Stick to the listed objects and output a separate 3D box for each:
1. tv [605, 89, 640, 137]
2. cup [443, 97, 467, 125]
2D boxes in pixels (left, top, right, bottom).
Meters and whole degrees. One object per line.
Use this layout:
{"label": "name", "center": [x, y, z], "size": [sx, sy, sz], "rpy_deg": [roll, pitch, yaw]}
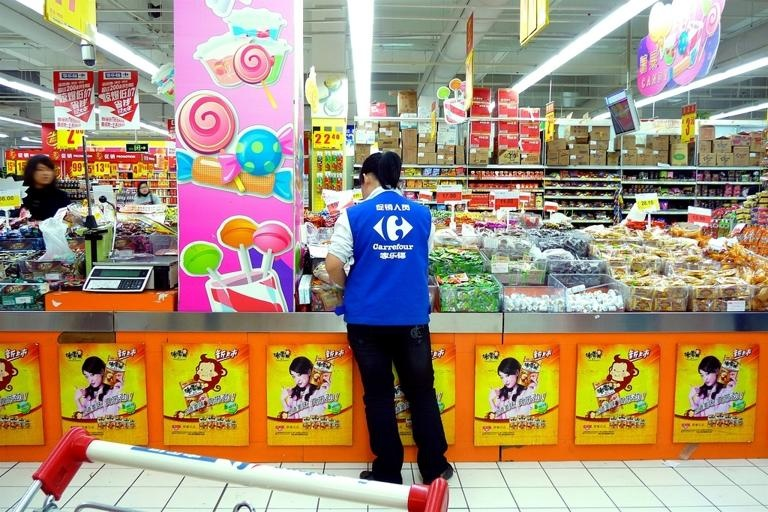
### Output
{"label": "tv", "center": [3.396, -2.070, 8.312], "size": [0.306, 0.577, 0.800], "rpy_deg": [0, 6, 9]}
{"label": "cup", "center": [1.183, -2.467, 9.775], "size": [0.386, 0.426, 0.353], "rpy_deg": [-1, 6, 0]}
